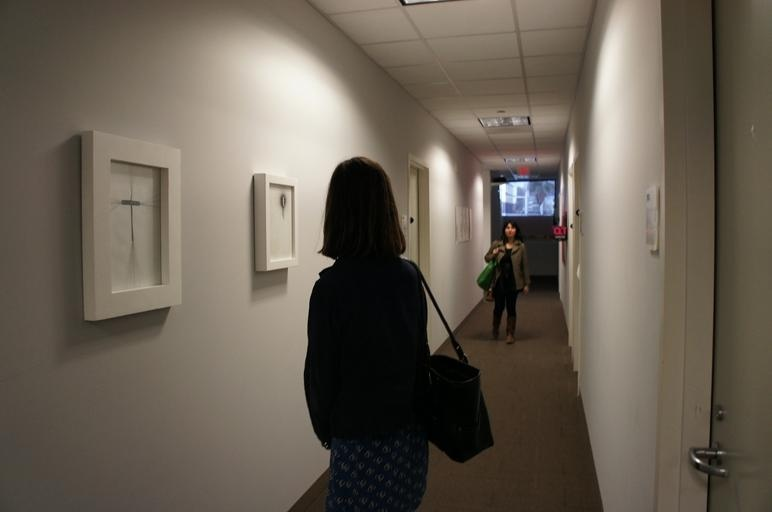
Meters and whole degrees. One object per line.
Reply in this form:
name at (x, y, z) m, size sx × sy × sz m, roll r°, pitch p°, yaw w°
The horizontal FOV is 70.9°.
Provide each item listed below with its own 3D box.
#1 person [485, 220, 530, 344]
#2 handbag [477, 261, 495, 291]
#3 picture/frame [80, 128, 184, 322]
person at (1.719, 0.378, 7.709) m, size 0.587 × 1.686 × 0.834 m, roll 1°, pitch 4°, yaw 15°
handbag at (1.375, 0.298, 7.613) m, size 0.235 × 0.436 × 0.402 m, roll -1°, pitch 5°, yaw -11°
picture/frame at (-1.100, -0.133, 2.354) m, size 0.064 × 0.751 × 0.448 m, roll 0°, pitch 1°, yaw 26°
